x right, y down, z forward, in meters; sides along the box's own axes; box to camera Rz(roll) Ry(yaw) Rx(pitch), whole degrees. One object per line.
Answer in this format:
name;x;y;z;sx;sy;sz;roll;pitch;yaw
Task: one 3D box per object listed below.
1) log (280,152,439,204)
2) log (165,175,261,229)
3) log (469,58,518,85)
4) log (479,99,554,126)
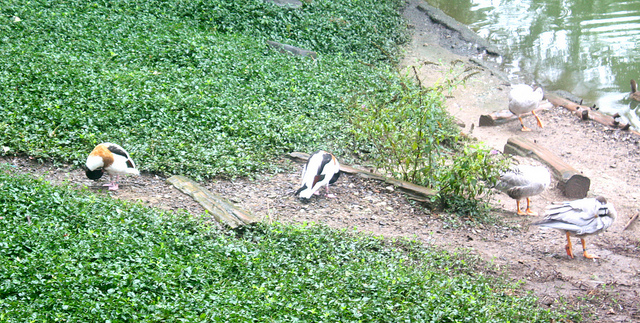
log;1.413;0.438;23.025;5.141;0.602;0.316;17;40;0
log;-3.406;1.265;21.367;3.699;0.272;1.171;28;39;23
log;7.840;-4.164;30.831;2.469;0.216;0.871;33;18;29
log;7.919;-1.920;27.042;2.120;0.754;0.570;-11;43;6
